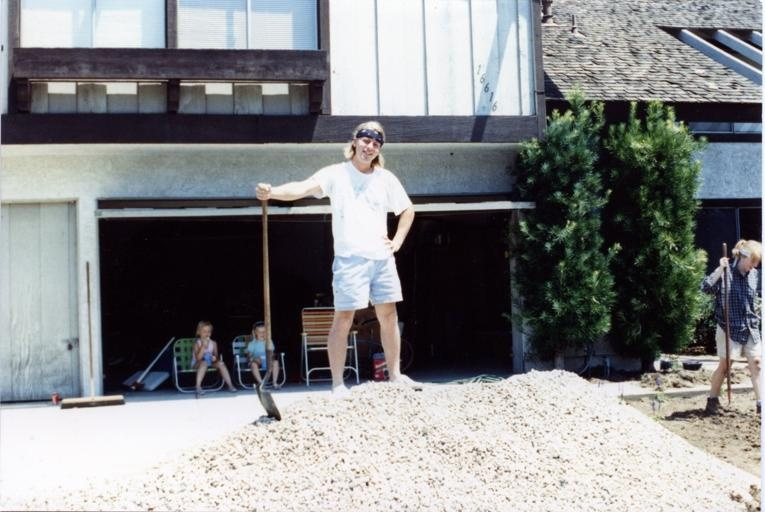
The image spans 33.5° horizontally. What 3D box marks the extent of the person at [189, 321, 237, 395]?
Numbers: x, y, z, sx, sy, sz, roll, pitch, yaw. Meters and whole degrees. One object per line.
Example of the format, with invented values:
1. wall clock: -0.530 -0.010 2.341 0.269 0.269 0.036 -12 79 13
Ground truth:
1. person: -2.591 1.522 19.622 0.562 1.222 0.624 0 5 -11

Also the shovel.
1. shovel: -1.493 0.866 16.857 0.340 2.805 0.578 1 2 1

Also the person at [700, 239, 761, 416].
1. person: 5.025 1.010 17.998 0.785 2.400 0.607 -1 5 16

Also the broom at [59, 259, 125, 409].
1. broom: -4.393 1.165 18.967 0.936 2.109 0.669 -4 5 -15

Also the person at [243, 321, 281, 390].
1. person: -1.847 1.557 19.624 0.598 1.150 0.592 0 2 -6
